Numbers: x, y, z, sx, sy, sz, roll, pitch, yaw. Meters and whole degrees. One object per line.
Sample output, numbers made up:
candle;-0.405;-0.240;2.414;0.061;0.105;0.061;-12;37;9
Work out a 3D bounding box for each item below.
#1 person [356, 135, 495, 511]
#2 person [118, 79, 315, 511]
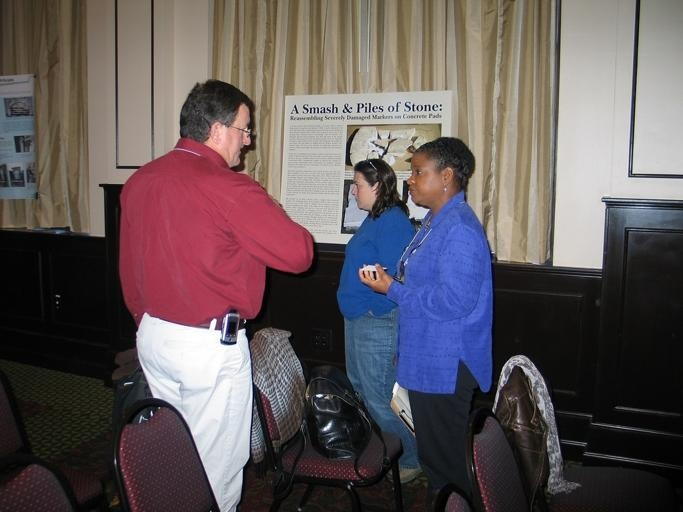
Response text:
person;0.464;0.310;2.563;0.556;1.792;0.346;3;7;18
person;-0.568;0.184;2.252;0.851;1.882;0.378;0;6;-8
